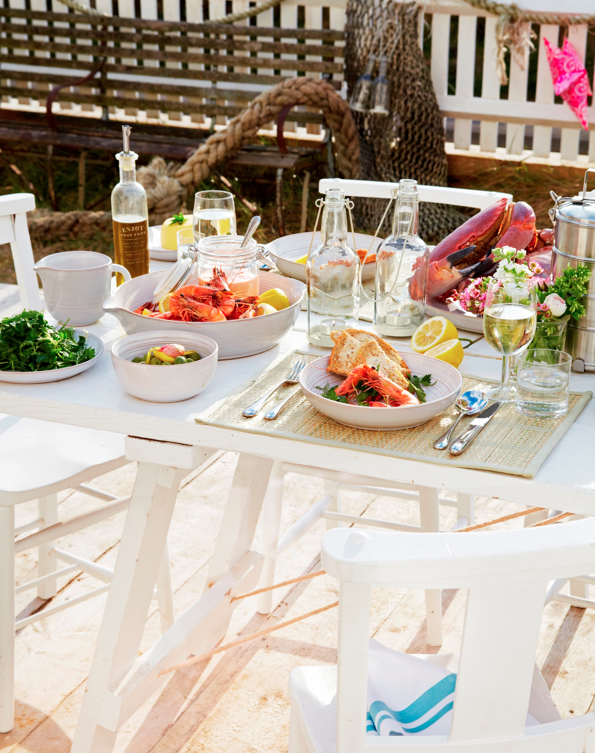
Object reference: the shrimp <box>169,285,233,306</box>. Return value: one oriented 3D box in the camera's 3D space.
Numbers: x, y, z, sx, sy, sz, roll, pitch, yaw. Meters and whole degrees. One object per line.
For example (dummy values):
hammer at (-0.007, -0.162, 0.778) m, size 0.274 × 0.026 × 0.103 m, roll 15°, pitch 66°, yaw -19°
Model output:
shrimp at (-0.148, -0.128, 1.046) m, size 0.077 × 0.017 × 0.042 m, roll 8°, pitch 35°, yaw 5°

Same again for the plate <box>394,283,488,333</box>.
plate at (0.240, -0.111, 1.141) m, size 0.102 × 0.052 × 0.102 m, roll -9°, pitch 20°, yaw -30°

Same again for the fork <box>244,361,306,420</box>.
fork at (-0.030, 0.020, 0.904) m, size 0.028 × 0.028 × 0.201 m, roll -7°, pitch 20°, yaw 31°

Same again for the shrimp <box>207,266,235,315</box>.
shrimp at (-0.125, -0.141, 1.077) m, size 0.032 × 0.029 × 0.092 m, roll -26°, pitch 52°, yaw 2°

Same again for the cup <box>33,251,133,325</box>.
cup at (-0.370, -0.130, 1.180) m, size 0.201 × 0.121 × 0.139 m, roll 5°, pitch 29°, yaw 0°

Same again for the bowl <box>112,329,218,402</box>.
bowl at (-0.175, -0.011, 0.898) m, size 0.136 × 0.083 × 0.124 m, roll 0°, pitch 12°, yaw 0°

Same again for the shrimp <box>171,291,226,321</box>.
shrimp at (-0.146, -0.100, 1.021) m, size 0.076 × 0.024 × 0.047 m, roll 17°, pitch 10°, yaw 20°

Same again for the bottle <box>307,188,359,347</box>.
bottle at (0.040, -0.170, 1.080) m, size 0.091 × 0.243 × 0.096 m, roll 2°, pitch 27°, yaw -1°

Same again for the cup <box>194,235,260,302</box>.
cup at (-0.119, -0.187, 1.163) m, size 0.109 × 0.113 × 0.091 m, roll -8°, pitch 25°, yaw -13°

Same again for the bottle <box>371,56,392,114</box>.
bottle at (0.445, -1.559, 3.608) m, size 0.096 × 0.303 × 0.196 m, roll 1°, pitch 13°, yaw 6°

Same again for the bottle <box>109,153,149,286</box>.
bottle at (-0.329, -0.298, 1.315) m, size 0.070 × 0.249 × 0.078 m, roll -4°, pitch 15°, yaw -19°

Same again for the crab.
crab at (0.336, -0.222, 1.251) m, size 0.238 × 0.086 × 0.236 m, roll -47°, pitch 34°, yaw -2°

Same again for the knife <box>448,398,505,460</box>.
knife at (0.212, 0.061, 0.809) m, size 0.022 × 0.026 × 0.182 m, roll 7°, pitch 13°, yaw 28°

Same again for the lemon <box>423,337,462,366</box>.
lemon at (0.222, -0.032, 0.998) m, size 0.049 × 0.028 × 0.048 m, roll -35°, pitch 15°, yaw -24°

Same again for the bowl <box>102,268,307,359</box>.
bowl at (-0.149, -0.094, 1.050) m, size 0.204 × 0.091 × 0.224 m, roll -3°, pitch 20°, yaw 1°

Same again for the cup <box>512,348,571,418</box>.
cup at (0.322, 0.007, 0.853) m, size 0.089 × 0.084 × 0.049 m, roll -3°, pitch 14°, yaw -15°
